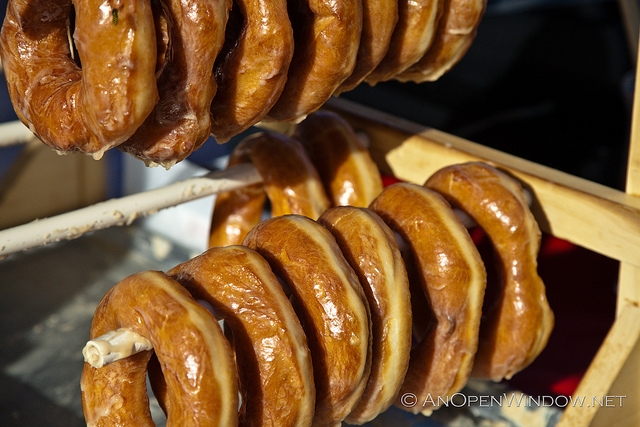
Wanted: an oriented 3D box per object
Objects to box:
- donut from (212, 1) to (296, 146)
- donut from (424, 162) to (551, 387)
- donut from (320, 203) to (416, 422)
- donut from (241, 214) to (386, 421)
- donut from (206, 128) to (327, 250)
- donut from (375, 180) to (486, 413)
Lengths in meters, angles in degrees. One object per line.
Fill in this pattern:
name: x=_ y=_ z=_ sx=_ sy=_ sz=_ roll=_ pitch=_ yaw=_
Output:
donut: x=-0.144 y=-0.298 z=1.583 sx=0.066 sy=0.274 sz=0.192 roll=11 pitch=13 yaw=-11
donut: x=0.444 y=0.136 z=1.783 sx=0.139 sy=0.496 sz=0.423 roll=0 pitch=-27 yaw=-27
donut: x=0.130 y=0.209 z=1.652 sx=0.086 sy=0.400 sz=0.341 roll=-6 pitch=-6 yaw=-13
donut: x=0.028 y=0.228 z=1.599 sx=0.115 sy=0.423 sz=0.363 roll=-11 pitch=6 yaw=-22
donut: x=-0.136 y=-0.069 z=1.982 sx=0.083 sy=0.366 sz=0.301 roll=8 pitch=-6 yaw=-40
donut: x=0.266 y=0.193 z=1.731 sx=0.118 sy=0.493 sz=0.386 roll=-7 pitch=3 yaw=-9
